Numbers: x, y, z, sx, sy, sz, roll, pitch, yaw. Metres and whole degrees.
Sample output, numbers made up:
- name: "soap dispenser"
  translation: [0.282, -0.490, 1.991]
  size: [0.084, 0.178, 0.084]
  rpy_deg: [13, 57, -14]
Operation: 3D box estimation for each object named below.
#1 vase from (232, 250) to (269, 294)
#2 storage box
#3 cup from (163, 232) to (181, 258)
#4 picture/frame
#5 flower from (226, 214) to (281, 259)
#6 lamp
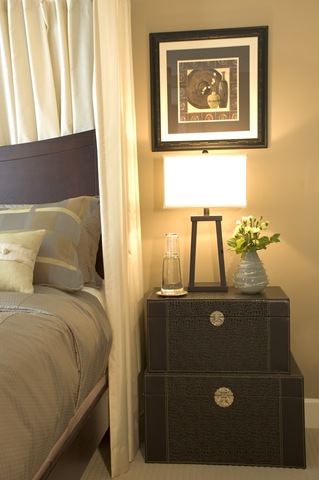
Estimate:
- name: "vase"
  translation: [0.418, 0.142, 1.819]
  size: [0.162, 0.211, 0.172]
  rpy_deg: [4, 2, 31]
- name: "storage box"
  translation: [0.228, 0.487, 1.957]
  size: [0.821, 0.912, 0.643]
  rpy_deg: [1, 1, 5]
- name: "cup"
  translation: [0.058, 0.027, 1.833]
  size: [0.089, 0.144, 0.094]
  rpy_deg: [0, 0, 0]
- name: "picture/frame"
  translation: [0.277, -0.805, 1.995]
  size: [0.630, 0.674, 0.059]
  rpy_deg: [0, 1, 6]
- name: "flower"
  translation: [0.398, -0.027, 1.798]
  size: [0.269, 0.184, 0.236]
  rpy_deg: [4, 11, -41]
- name: "lamp"
  translation: [0.208, -0.088, 1.834]
  size: [0.378, 0.647, 0.177]
  rpy_deg: [3, 10, 9]
